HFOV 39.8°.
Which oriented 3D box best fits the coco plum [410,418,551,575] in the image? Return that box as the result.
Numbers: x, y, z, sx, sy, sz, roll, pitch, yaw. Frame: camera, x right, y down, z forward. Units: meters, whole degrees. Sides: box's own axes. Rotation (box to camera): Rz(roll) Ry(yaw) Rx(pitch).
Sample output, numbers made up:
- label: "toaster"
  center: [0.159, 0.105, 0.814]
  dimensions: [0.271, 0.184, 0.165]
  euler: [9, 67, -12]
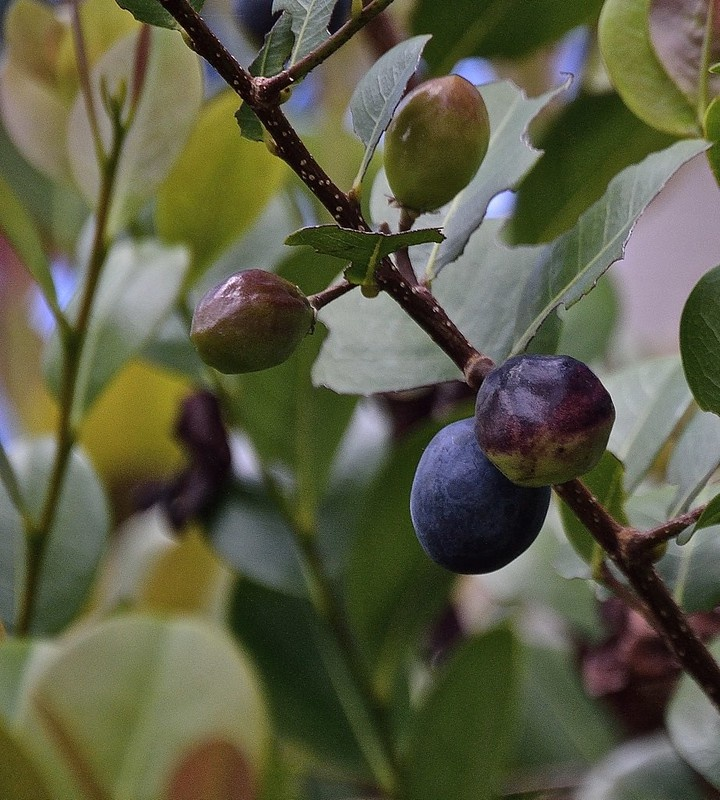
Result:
- label: "coco plum"
  center: [0.042, 0.043, 0.476]
  dimensions: [0.072, 0.078, 0.070]
  euler: [-4, 16, -9]
